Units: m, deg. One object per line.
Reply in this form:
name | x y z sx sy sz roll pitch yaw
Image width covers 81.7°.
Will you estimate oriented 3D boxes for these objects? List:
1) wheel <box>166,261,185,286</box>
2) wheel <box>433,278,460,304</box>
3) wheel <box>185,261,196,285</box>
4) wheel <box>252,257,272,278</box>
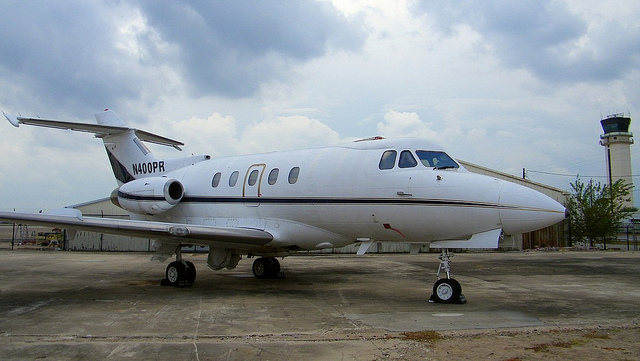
wheel | -5.381 3.536 13.872 0.832 0.741 0.325 -29 -14 37
wheel | 3.876 3.446 11.362 0.920 0.756 0.386 1 -5 25
wheel | -4.884 3.552 13.952 0.375 0.801 0.883 -4 -18 -26
wheel | -2.468 3.827 15.986 0.947 0.788 0.350 -11 -8 27
